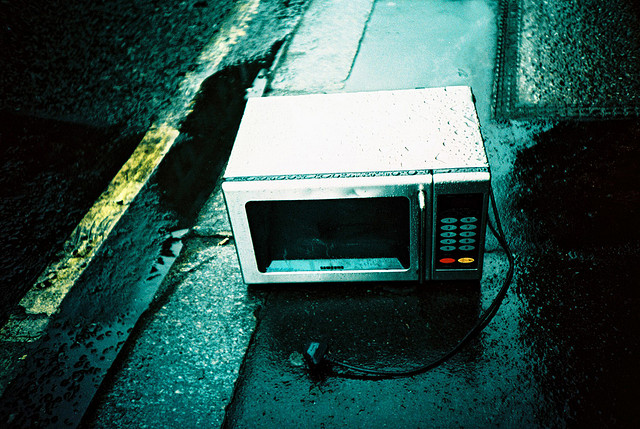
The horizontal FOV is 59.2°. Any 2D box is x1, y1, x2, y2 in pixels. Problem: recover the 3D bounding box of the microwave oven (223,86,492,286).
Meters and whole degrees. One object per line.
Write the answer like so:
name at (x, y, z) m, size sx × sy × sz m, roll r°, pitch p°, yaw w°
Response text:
microwave oven at (0.112, -0.067, 1.663) m, size 0.817 × 0.471 × 0.599 m, roll -1°, pitch 49°, yaw 4°
